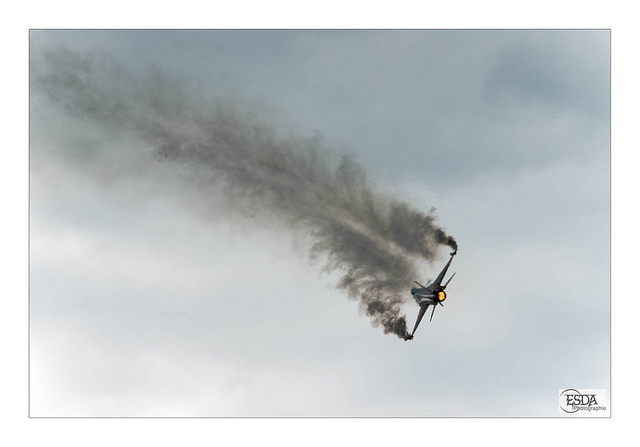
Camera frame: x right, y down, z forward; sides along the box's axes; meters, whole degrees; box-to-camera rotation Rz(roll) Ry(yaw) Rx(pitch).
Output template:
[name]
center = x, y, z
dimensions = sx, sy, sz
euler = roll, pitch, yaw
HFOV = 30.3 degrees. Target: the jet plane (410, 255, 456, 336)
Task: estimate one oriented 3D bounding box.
[jet plane]
center = 6.123, 4.001, 66.966
dimensions = 1.502, 3.380, 3.888
euler = 26, -98, -3
